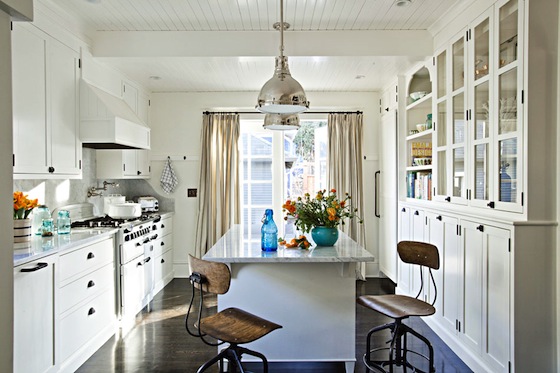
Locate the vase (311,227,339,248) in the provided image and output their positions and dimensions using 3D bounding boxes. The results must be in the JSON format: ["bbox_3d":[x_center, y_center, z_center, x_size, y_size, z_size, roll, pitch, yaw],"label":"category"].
[{"bbox_3d":[0.442,0.473,4.150,0.205,0.144,0.209,1,-6,-8],"label":"vase"}]

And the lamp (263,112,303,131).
[{"bbox_3d":[-0.013,-0.706,4.575,0.356,0.176,0.387,7,12,37],"label":"lamp"}]

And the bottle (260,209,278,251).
[{"bbox_3d":[-0.101,0.392,4.072,0.159,0.390,0.225,-1,9,-3],"label":"bottle"}]

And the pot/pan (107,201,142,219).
[{"bbox_3d":[-1.926,0.283,5.309,0.244,0.142,0.250,0,-1,5],"label":"pot/pan"}]

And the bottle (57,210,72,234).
[{"bbox_3d":[-2.216,0.346,4.375,0.118,0.231,0.095,-3,9,-18],"label":"bottle"}]

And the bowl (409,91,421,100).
[{"bbox_3d":[1.734,-1.173,5.423,0.106,0.070,0.108,-1,-2,0],"label":"bowl"}]

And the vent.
[{"bbox_3d":[-1.980,-0.777,5.264,0.526,0.999,1.691,-1,0,-2],"label":"vent"}]

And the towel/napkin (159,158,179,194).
[{"bbox_3d":[-1.732,-0.190,6.679,0.301,0.587,0.164,-3,9,-18],"label":"towel/napkin"}]

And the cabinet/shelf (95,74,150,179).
[{"bbox_3d":[-2.017,-0.778,5.415,0.443,1.259,1.339,0,-1,2],"label":"cabinet/shelf"}]

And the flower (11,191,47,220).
[{"bbox_3d":[-2.357,0.170,4.004,0.281,0.267,0.298,2,3,45],"label":"flower"}]

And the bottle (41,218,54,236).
[{"bbox_3d":[-2.334,0.390,4.289,0.112,0.158,0.187,-5,11,-31],"label":"bottle"}]

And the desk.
[{"bbox_3d":[0.119,1.055,4.279,1.041,0.955,1.888,1,-3,-1],"label":"desk"}]

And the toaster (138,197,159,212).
[{"bbox_3d":[-1.930,0.241,6.298,0.271,0.210,0.206,-1,8,-16],"label":"toaster"}]

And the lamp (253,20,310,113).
[{"bbox_3d":[0.022,-0.925,3.798,0.405,0.506,0.337,7,11,36],"label":"lamp"}]

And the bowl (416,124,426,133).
[{"bbox_3d":[1.776,-0.745,5.344,0.101,0.081,0.102,-2,5,0],"label":"bowl"}]

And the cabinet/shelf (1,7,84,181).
[{"bbox_3d":[-2.623,-0.829,4.381,0.599,1.540,1.548,1,5,-2],"label":"cabinet/shelf"}]

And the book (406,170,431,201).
[{"bbox_3d":[1.756,-0.024,5.355,0.273,0.370,0.369,1,-1,-18],"label":"book"}]

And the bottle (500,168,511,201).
[{"bbox_3d":[2.027,-0.015,3.842,0.028,0.279,0.134,-3,9,-16],"label":"bottle"}]
